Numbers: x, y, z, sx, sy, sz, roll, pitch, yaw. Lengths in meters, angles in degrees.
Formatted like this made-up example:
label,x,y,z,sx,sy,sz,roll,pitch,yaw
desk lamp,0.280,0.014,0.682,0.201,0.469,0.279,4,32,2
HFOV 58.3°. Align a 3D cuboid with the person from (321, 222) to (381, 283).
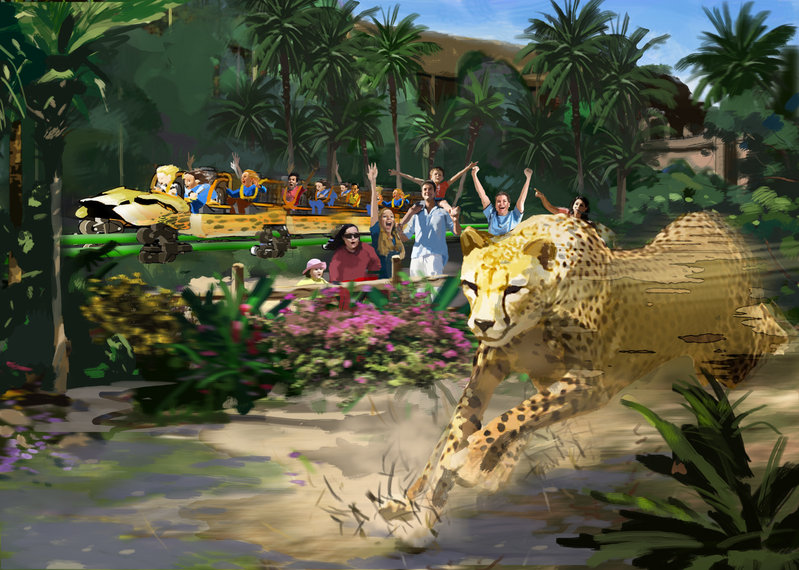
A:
label,x,y,z,sx,sy,sz,roll,pitch,yaw
person,-0.509,-0.340,7.880,0.584,0.615,0.511,-4,10,-6
